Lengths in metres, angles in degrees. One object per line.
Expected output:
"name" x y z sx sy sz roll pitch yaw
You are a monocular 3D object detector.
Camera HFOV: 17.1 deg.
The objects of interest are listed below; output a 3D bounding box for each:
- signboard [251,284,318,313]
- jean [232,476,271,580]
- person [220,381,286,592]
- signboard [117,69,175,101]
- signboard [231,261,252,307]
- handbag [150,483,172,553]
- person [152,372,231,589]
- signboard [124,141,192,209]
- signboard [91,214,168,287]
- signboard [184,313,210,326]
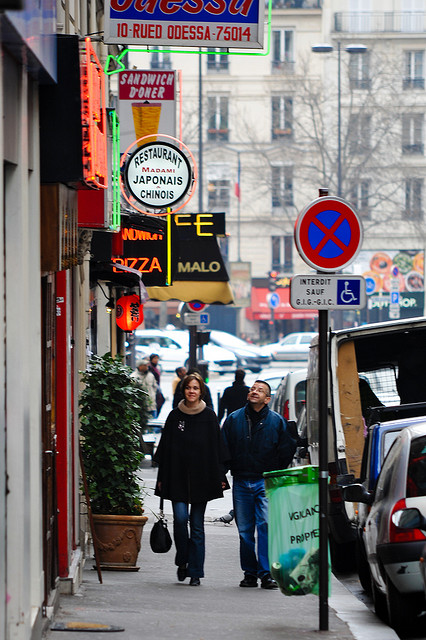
"signboard" 1.717 -0.603 39.187 1.501 0.826 1.146 2 -6 -30
"jean" 0.298 1.663 11.267 0.274 0.776 0.425 0 1 1
"person" 0.344 1.311 11.256 0.541 1.553 0.576 0 2 -6
"signboard" -0.809 -2.856 17.315 0.803 0.589 0.086 0 0 -11
"signboard" 0.832 -1.408 57.673 0.861 1.802 1.606 -2 -3 35
"handbag" -0.400 1.571 11.213 0.138 0.604 0.217 4 -5 -11
"person" -0.186 1.256 11.320 0.553 1.700 0.632 1 0 -7
"signboard" -0.592 -1.572 15.369 0.714 0.702 0.313 0 1 -5
"signboard" -0.999 -0.621 16.419 0.938 1.158 0.573 2 5 2
"signboard" -0.293 -0.012 27.525 0.353 0.237 1.550 0 1 7
